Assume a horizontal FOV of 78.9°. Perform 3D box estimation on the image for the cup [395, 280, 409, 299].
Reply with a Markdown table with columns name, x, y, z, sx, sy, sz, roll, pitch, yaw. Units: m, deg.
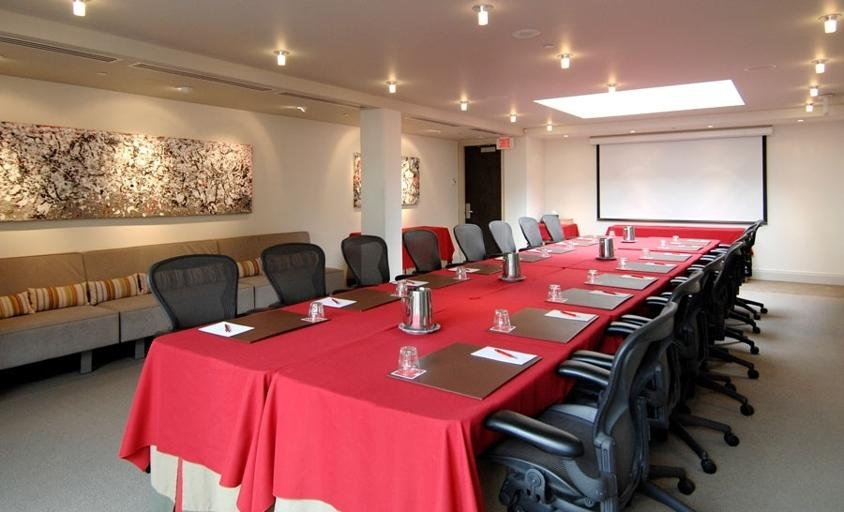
| name | x | y | z | sx | sy | sz | roll | pitch | yaw |
| --- | --- | --- | --- | --- | --- | --- | --- | --- | --- |
| cup | -0.184 | 0.337 | 5.059 | 0.161 | 0.214 | 0.170 | 1 | 0 | 0 |

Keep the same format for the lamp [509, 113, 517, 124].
| name | x | y | z | sx | sy | sz | roll | pitch | yaw |
| --- | --- | --- | --- | --- | --- | --- | --- | --- | --- |
| lamp | 1.829 | -2.758 | 10.284 | 0.154 | 0.174 | 0.150 | -1 | 2 | -30 |

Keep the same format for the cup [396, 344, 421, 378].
| name | x | y | z | sx | sy | sz | roll | pitch | yaw |
| --- | --- | --- | --- | --- | --- | --- | --- | --- | --- |
| cup | -0.078 | 0.755 | 3.700 | 0.194 | 0.191 | 0.205 | -1 | 3 | 0 |

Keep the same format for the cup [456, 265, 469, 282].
| name | x | y | z | sx | sy | sz | roll | pitch | yaw |
| --- | --- | --- | --- | --- | --- | --- | --- | --- | --- |
| cup | 0.445 | 0.201 | 5.736 | 0.148 | 0.141 | 0.153 | -1 | 0 | 0 |

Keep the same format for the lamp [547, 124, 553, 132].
| name | x | y | z | sx | sy | sz | roll | pitch | yaw |
| --- | --- | --- | --- | --- | --- | --- | --- | --- | --- |
| lamp | 2.824 | -2.816 | 11.318 | 0.136 | 0.139 | 0.137 | 8 | 12 | 42 |

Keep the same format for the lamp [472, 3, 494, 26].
| name | x | y | z | sx | sy | sz | roll | pitch | yaw |
| --- | --- | --- | --- | --- | --- | --- | --- | --- | --- |
| lamp | 0.624 | -2.491 | 5.318 | 0.164 | 0.171 | 0.172 | -2 | 4 | -32 |

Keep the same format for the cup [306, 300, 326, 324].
| name | x | y | z | sx | sy | sz | roll | pitch | yaw |
| --- | --- | --- | --- | --- | --- | --- | --- | --- | --- |
| cup | -0.916 | 0.483 | 4.466 | 0.169 | 0.177 | 0.194 | 0 | 1 | 25 |

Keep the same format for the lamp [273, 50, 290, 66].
| name | x | y | z | sx | sy | sz | roll | pitch | yaw |
| --- | --- | --- | --- | --- | --- | --- | --- | --- | --- |
| lamp | -1.735 | -2.422 | 6.280 | 0.149 | 0.137 | 0.134 | 0 | 6 | -4 |

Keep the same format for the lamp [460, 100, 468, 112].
| name | x | y | z | sx | sy | sz | roll | pitch | yaw |
| --- | --- | --- | --- | --- | --- | --- | --- | --- | --- |
| lamp | 0.729 | -2.626 | 8.945 | 0.104 | 0.110 | 0.106 | 0 | 5 | 13 |

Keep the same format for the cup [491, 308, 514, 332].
| name | x | y | z | sx | sy | sz | roll | pitch | yaw |
| --- | --- | --- | --- | --- | --- | --- | --- | --- | --- |
| cup | 0.674 | 0.540 | 4.271 | 0.179 | 0.118 | 0.175 | -3 | 3 | 0 |

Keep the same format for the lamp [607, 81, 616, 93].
| name | x | y | z | sx | sy | sz | roll | pitch | yaw |
| --- | --- | --- | --- | --- | --- | --- | --- | --- | --- |
| lamp | 2.880 | -2.558 | 7.753 | 0.121 | 0.130 | 0.118 | 1 | 5 | 12 |

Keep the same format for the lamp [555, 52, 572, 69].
| name | x | y | z | sx | sy | sz | roll | pitch | yaw |
| --- | --- | --- | --- | --- | --- | --- | --- | --- | --- |
| lamp | 1.815 | -2.491 | 6.562 | 0.144 | 0.223 | 0.141 | -1 | 2 | -39 |
